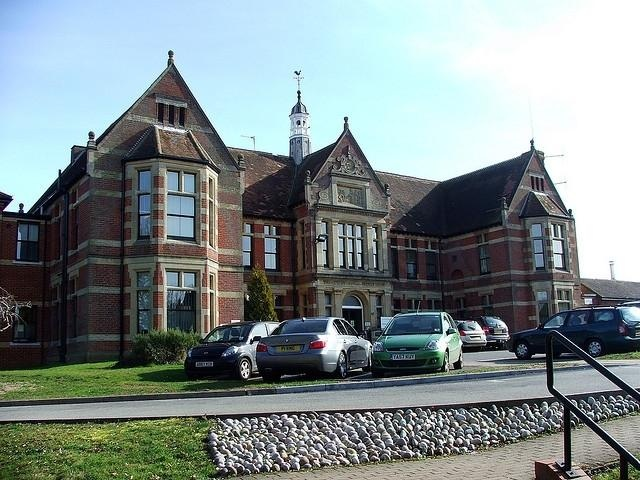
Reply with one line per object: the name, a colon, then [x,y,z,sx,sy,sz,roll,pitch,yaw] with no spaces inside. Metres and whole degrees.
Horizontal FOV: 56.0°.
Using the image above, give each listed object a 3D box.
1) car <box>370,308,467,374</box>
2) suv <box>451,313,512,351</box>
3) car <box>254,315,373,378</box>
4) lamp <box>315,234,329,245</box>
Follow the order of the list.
car: [3.248,3.118,18.647,1.608,1.293,2.893,-5,-13,21]
suv: [8.671,5.086,31.979,1.625,1.432,3.633,0,-2,-14]
car: [0.009,3.255,17.874,3.517,1.874,1.738,3,-7,-38]
lamp: [0.166,-0.132,36.215,0.657,0.615,0.634,9,-15,-29]
